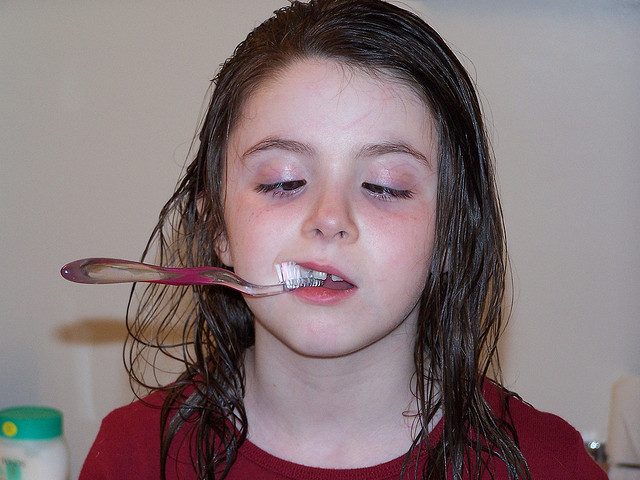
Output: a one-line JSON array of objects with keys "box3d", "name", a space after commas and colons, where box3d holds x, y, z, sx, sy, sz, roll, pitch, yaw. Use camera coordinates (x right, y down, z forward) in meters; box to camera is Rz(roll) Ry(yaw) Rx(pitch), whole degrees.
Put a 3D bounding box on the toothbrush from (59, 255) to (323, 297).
[{"box3d": [-0.199, 0.059, 1.147, 0.280, 0.044, 0.050, 9, -7, -23], "name": "toothbrush"}]
